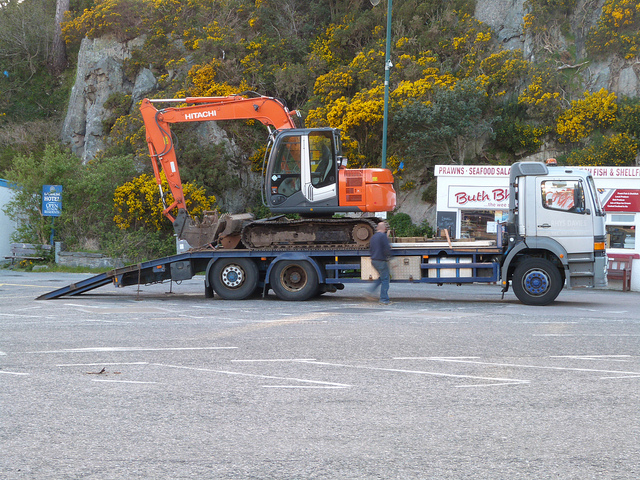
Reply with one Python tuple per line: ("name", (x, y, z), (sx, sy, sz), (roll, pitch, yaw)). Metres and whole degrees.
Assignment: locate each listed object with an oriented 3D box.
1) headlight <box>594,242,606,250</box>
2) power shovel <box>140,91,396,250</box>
("headlight", (8.362, 0.170, 30.897), (0.227, 0.240, 0.059), (2, 0, 3))
("power shovel", (-1.856, -2.070, 33.830), (7.856, 5.447, 2.875), (-2, -4, 1))
